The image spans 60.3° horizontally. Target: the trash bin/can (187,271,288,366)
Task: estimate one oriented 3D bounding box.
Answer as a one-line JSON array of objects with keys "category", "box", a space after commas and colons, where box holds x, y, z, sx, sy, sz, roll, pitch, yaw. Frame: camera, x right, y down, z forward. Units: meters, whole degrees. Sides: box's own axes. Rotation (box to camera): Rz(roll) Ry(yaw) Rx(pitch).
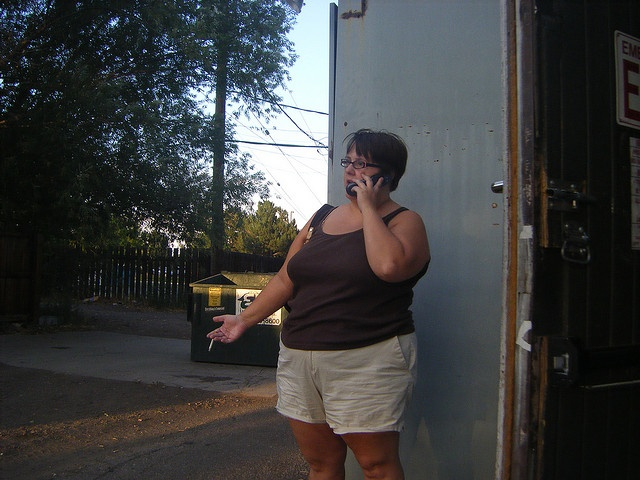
[{"category": "trash bin/can", "box": [-1.071, 1.314, 8.260, 1.314, 1.560, 1.425, 1, 0, 19]}]
